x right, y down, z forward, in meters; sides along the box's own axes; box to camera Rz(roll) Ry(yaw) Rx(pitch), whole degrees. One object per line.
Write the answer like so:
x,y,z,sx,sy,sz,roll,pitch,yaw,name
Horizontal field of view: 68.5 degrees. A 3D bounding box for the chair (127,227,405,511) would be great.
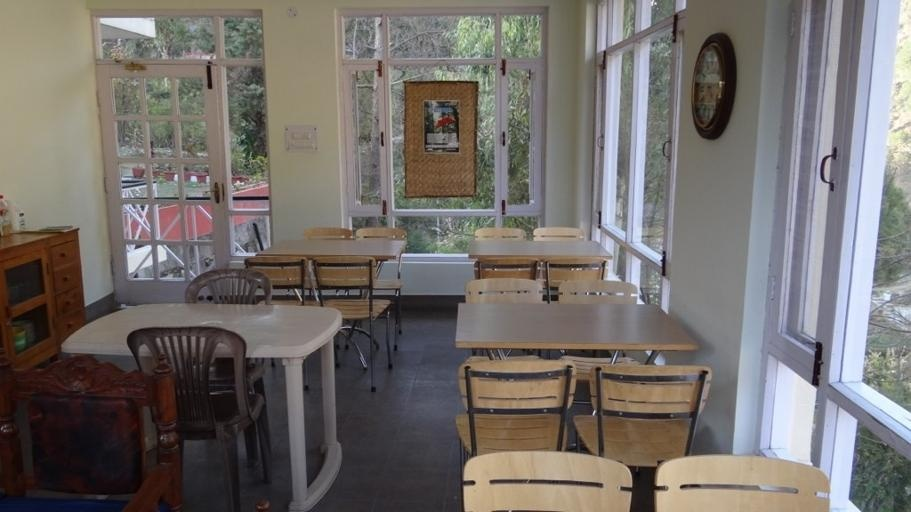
-1.497,0.758,7.245,2.032,1.415,2.898,0,8,2,chair
